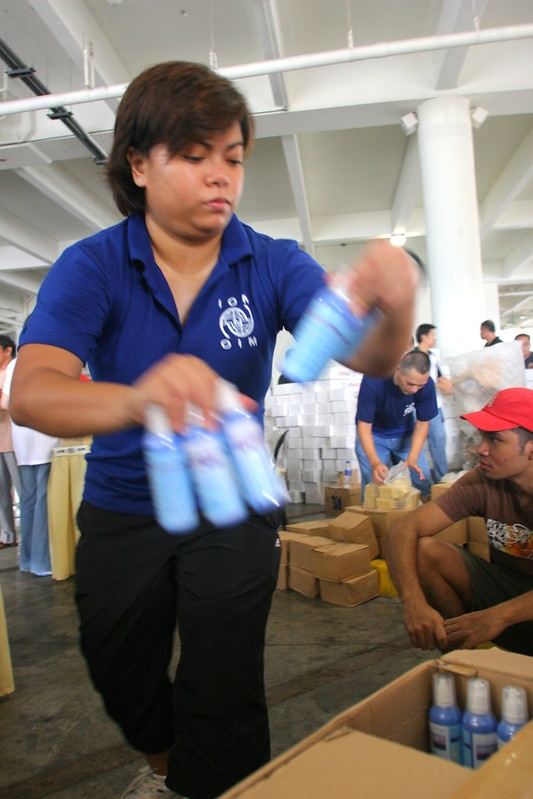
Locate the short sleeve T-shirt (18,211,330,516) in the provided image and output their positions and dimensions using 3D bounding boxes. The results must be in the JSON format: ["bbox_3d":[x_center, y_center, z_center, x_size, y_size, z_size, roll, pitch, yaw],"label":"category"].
[{"bbox_3d":[-0.153,-0.072,0.977,0.540,0.510,0.324,1,9,-12],"label":"short sleeve T-shirt"}]

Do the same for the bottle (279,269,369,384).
[{"bbox_3d":[0.094,-0.091,0.781,0.129,0.123,0.099,-8,-6,40],"label":"bottle"}]

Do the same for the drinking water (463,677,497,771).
[{"bbox_3d":[0.360,0.560,0.934,0.054,0.181,0.051,4,15,41],"label":"drinking water"}]

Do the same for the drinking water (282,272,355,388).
[{"bbox_3d":[0.075,-0.101,0.815,0.088,0.174,0.087,8,-11,45],"label":"drinking water"}]

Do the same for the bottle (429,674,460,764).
[{"bbox_3d":[0.308,0.558,0.944,0.052,0.189,0.050,-5,8,1],"label":"bottle"}]

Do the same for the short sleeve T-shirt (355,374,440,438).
[{"bbox_3d":[0.888,0.052,3.762,0.471,0.435,0.262,-3,41,-10],"label":"short sleeve T-shirt"}]
